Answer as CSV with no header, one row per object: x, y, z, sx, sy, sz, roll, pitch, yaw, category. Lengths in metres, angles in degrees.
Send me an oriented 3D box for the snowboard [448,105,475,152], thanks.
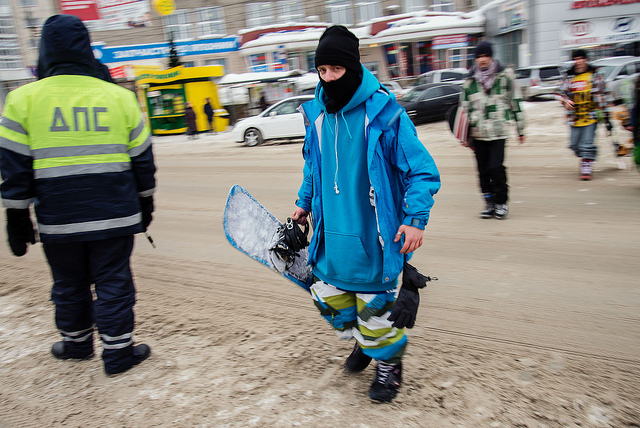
1.971,-1.249,7.468,0.553,0.558,0.192,-8,7,-17,snowboard

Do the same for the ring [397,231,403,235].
0.581,0.141,3.794,0.036,0.024,0.030,1,13,6,ring

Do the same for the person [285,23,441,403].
0.330,0.036,4.001,0.963,2.894,0.698,10,24,42,person

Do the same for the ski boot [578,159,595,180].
4.494,-0.769,8.818,0.222,0.335,0.395,2,16,25,ski boot

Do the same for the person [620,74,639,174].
4.719,-1.394,7.909,0.200,1.153,0.168,3,-12,21,person

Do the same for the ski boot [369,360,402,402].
0.515,1.298,4.122,0.161,0.318,0.247,9,22,42,ski boot

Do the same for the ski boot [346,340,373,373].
0.315,1.202,4.420,0.233,0.223,0.282,-4,16,0,ski boot

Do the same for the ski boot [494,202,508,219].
2.522,-0.047,7.265,0.153,0.232,0.110,9,-20,-26,ski boot

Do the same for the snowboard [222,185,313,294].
-0.434,0.203,4.451,0.679,0.897,0.647,-6,16,-1,snowboard

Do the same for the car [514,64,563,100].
9.302,-5.788,22.684,1.747,0.935,3.117,-8,19,0,car

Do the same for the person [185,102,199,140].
-5.664,-4.063,22.839,0.386,1.586,0.864,-11,17,-10,person
